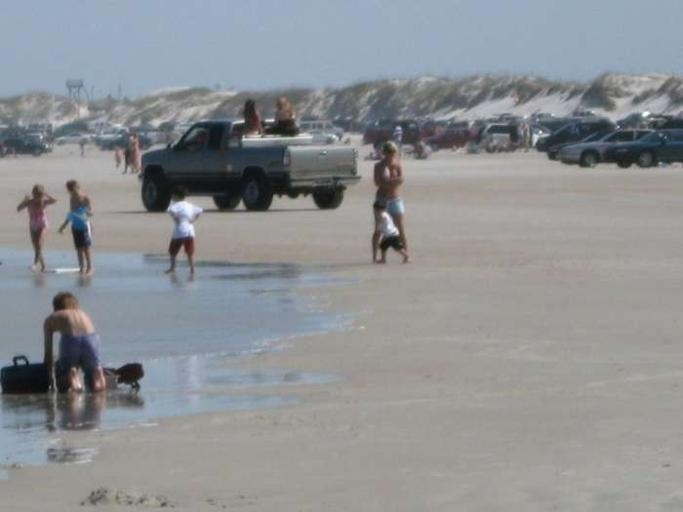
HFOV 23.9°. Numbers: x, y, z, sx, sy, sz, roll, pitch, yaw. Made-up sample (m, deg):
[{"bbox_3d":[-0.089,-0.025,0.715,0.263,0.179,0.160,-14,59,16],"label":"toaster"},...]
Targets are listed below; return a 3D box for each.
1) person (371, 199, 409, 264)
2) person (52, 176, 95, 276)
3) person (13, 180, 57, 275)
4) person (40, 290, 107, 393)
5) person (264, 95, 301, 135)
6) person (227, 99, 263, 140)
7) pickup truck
[{"bbox_3d":[0.726,-0.345,23.602,0.492,0.934,0.600,0,11,7],"label":"person"},{"bbox_3d":[-3.777,-0.427,23.336,0.370,1.291,0.906,-3,11,-10],"label":"person"},{"bbox_3d":[-4.487,-0.424,23.951,0.534,1.175,1.208,-3,11,-11],"label":"person"},{"bbox_3d":[-2.746,0.860,16.538,0.599,0.934,0.730,-3,11,-11],"label":"person"},{"bbox_3d":[-1.240,-2.981,34.400,0.718,0.746,0.781,-1,10,-9],"label":"person"},{"bbox_3d":[-1.918,-2.802,33.248,0.562,0.705,1.217,0,11,7],"label":"person"},{"bbox_3d":[-1.936,-1.833,33.471,3.764,1.434,2.167,6,8,34],"label":"pickup truck"}]
